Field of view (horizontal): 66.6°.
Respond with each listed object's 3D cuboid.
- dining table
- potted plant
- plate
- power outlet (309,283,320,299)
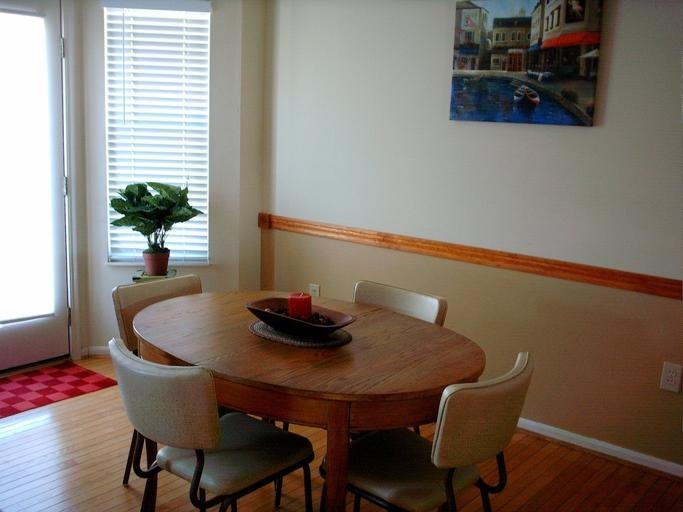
[{"bbox_3d":[-0.149,0.605,2.094,0.955,0.512,0.578,13,18,38],"label":"dining table"},{"bbox_3d":[-1.365,-0.192,3.713,0.527,0.655,0.569,-8,18,-39],"label":"potted plant"},{"bbox_3d":[-0.192,0.279,2.249,0.300,0.064,0.228,11,13,22],"label":"plate"},{"bbox_3d":[-0.190,0.257,3.786,0.089,0.124,0.012,8,9,36],"label":"power outlet"}]
